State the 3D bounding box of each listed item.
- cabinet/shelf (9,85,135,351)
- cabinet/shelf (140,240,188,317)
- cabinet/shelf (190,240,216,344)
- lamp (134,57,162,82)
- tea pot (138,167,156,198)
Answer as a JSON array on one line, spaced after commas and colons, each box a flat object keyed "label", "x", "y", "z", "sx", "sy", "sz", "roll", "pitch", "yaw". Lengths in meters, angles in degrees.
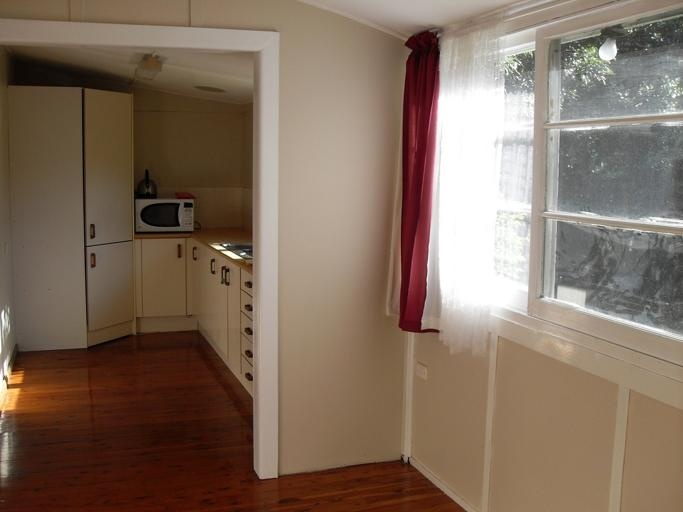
[{"label": "cabinet/shelf", "x": -2.554, "y": -0.341, "z": 5.164, "sx": 1.028, "sy": 2.440, "sz": 0.321, "roll": -2, "pitch": 10, "yaw": -21}, {"label": "cabinet/shelf", "x": -1.952, "y": 0.121, "z": 5.896, "sx": 0.498, "sy": 0.942, "sz": 0.523, "roll": -2, "pitch": 27, "yaw": -23}, {"label": "cabinet/shelf", "x": -1.375, "y": 0.334, "z": 5.367, "sx": 0.268, "sy": 0.870, "sz": 0.876, "roll": -2, "pitch": 9, "yaw": -19}, {"label": "lamp", "x": -1.683, "y": -1.649, "z": 4.714, "sx": 0.225, "sy": 0.129, "sz": 0.304, "roll": 12, "pitch": -10, "yaw": -20}, {"label": "tea pot", "x": -2.118, "y": -0.771, "z": 5.952, "sx": 0.193, "sy": 0.309, "sz": 0.290, "roll": 0, "pitch": 11, "yaw": -18}]
